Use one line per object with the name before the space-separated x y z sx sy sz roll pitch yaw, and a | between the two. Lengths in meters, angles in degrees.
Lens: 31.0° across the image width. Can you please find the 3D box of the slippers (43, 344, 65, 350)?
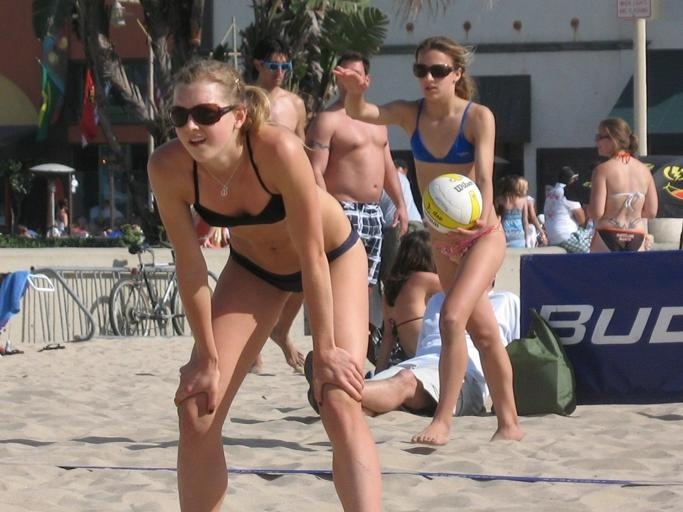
slippers | -3.959 1.249 16.894 0.156 0.051 0.130 1 4 4
